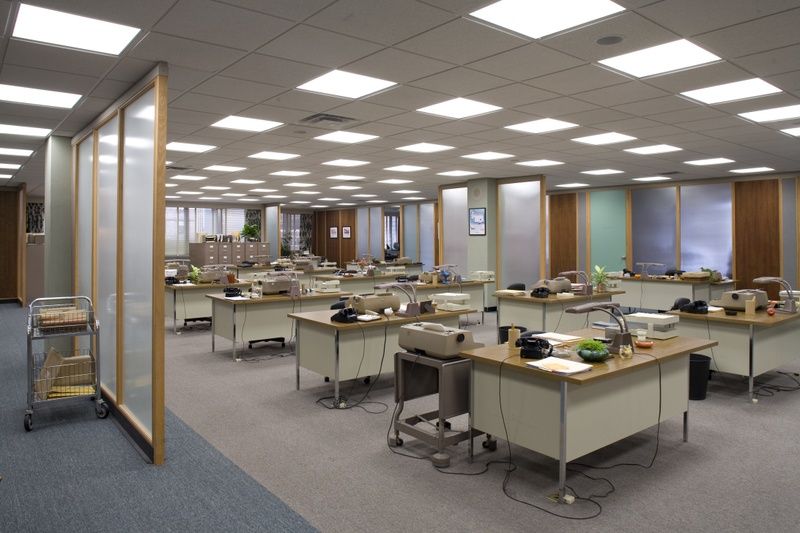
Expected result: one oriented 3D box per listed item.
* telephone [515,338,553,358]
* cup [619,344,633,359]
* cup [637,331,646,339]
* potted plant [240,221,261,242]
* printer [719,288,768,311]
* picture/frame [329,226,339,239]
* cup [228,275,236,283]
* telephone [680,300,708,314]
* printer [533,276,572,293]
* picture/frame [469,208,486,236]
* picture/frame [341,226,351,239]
[{"bbox_3d":[1.367,0.828,5.153,0.353,0.149,0.363,3,13,17],"label":"telephone"},{"bbox_3d":[2.300,0.860,5.191,0.130,0.125,0.128,0,1,0],"label":"cup"},{"bbox_3d":[2.679,0.741,5.627,0.087,0.091,0.085,0,8,0],"label":"cup"},{"bbox_3d":[-5.537,-1.234,19.076,0.733,0.805,0.828,-1,-1,40],"label":"potted plant"},{"bbox_3d":[4.809,0.415,7.187,0.456,0.177,0.379,2,2,39],"label":"printer"},{"bbox_3d":[-2.962,-1.529,23.059,0.064,0.562,0.591,-3,6,-35],"label":"picture/frame"},{"bbox_3d":[-3.665,0.262,11.148,0.149,0.205,0.210,-1,1,13],"label":"cup"},{"bbox_3d":[4.158,0.565,7.122,0.248,0.079,0.200,-5,7,-31],"label":"telephone"},{"bbox_3d":[2.736,0.334,9.262,0.494,0.201,0.375,-1,-1,43],"label":"printer"},{"bbox_3d":[2.051,-1.172,13.336,0.063,0.895,0.746,1,0,-41],"label":"picture/frame"},{"bbox_3d":[-2.315,-1.501,22.425,0.044,0.622,0.603,1,0,-45],"label":"picture/frame"}]
